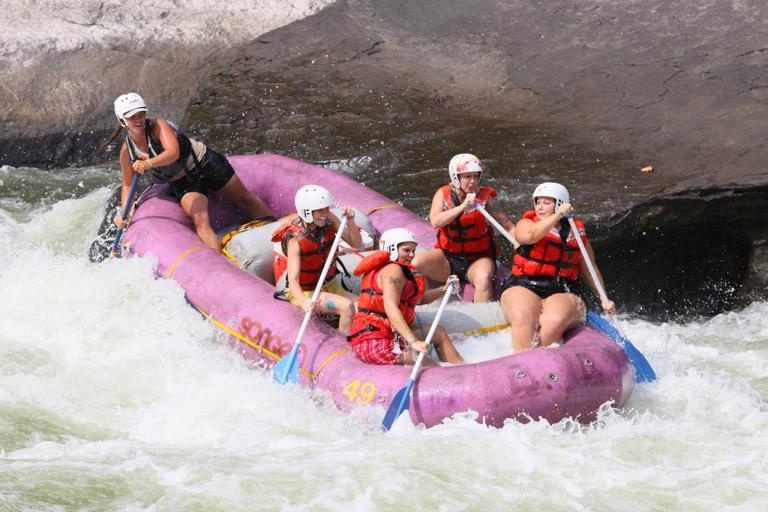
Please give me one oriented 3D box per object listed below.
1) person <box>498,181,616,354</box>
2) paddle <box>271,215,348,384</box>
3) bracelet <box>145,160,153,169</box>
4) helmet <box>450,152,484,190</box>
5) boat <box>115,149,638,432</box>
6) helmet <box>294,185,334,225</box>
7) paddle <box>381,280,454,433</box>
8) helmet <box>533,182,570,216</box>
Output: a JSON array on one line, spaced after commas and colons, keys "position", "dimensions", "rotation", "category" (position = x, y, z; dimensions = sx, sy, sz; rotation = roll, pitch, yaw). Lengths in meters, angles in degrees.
[{"position": [1.458, 0.087, 7.348], "dimensions": [0.823, 1.440, 0.615], "rotation": [4, 5, 4], "category": "person"}, {"position": [-0.637, 0.397, 7.510], "dimensions": [0.279, 1.402, 0.680], "rotation": [7, 6, 34], "category": "paddle"}, {"position": [-2.319, -0.906, 8.360], "dimensions": [0.020, 0.064, 0.074], "rotation": [-2, -2, 43], "category": "bracelet"}, {"position": [0.757, -0.816, 7.899], "dimensions": [0.274, 0.254, 0.360], "rotation": [-13, 19, -29], "category": "helmet"}, {"position": [-0.515, 0.520, 7.614], "dimensions": [4.365, 0.795, 2.206], "rotation": [27, 34, 37], "category": "boat"}, {"position": [-0.625, -0.490, 7.681], "dimensions": [0.399, 0.286, 0.319], "rotation": [-6, 21, 0], "category": "helmet"}, {"position": [0.292, 0.802, 7.023], "dimensions": [0.266, 1.213, 0.673], "rotation": [6, 5, 27], "category": "paddle"}, {"position": [1.508, -0.529, 7.480], "dimensions": [0.330, 0.215, 0.226], "rotation": [-14, 8, -24], "category": "helmet"}]
